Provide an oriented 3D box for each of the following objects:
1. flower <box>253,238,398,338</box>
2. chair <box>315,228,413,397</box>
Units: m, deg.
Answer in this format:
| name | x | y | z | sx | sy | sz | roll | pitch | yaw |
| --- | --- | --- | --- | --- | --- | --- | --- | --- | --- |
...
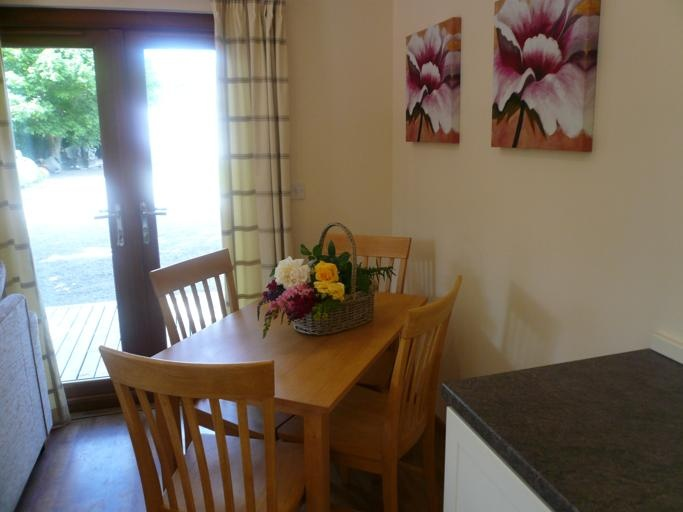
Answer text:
| name | x | y | z | sx | sy | sz | roll | pitch | yaw |
| --- | --- | --- | --- | --- | --- | --- | --- | --- | --- |
| flower | -0.011 | 0.185 | 2.390 | 0.440 | 0.260 | 0.474 | -12 | -1 | -6 |
| chair | 0.242 | 0.278 | 3.044 | 0.345 | 0.598 | 0.391 | -8 | -33 | 42 |
